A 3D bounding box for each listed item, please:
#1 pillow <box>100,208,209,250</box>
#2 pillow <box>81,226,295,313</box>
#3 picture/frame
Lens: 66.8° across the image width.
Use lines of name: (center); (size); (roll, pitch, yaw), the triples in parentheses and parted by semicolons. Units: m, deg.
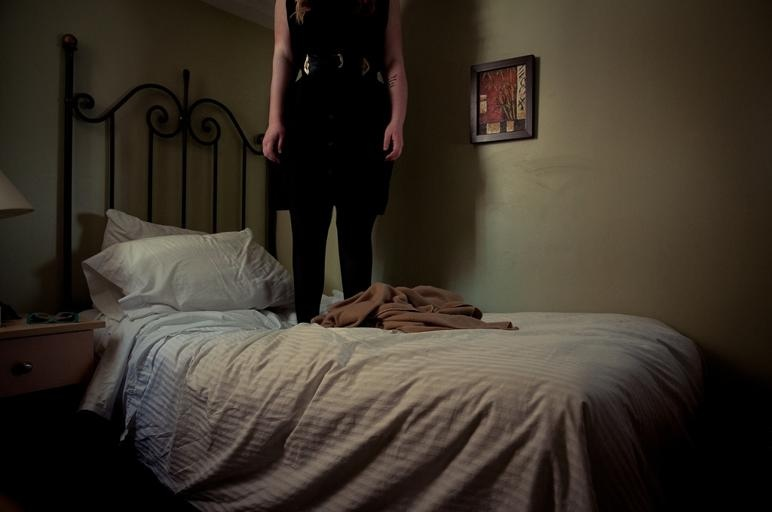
pillow: (-1.210, -0.125, 2.956); (0.268, 0.100, 0.318); (34, 13, 38)
pillow: (-0.873, 0.074, 2.739); (0.515, 0.178, 0.563); (34, 24, 24)
picture/frame: (0.619, -0.820, 3.057); (0.450, 0.576, 0.037); (0, -1, 33)
